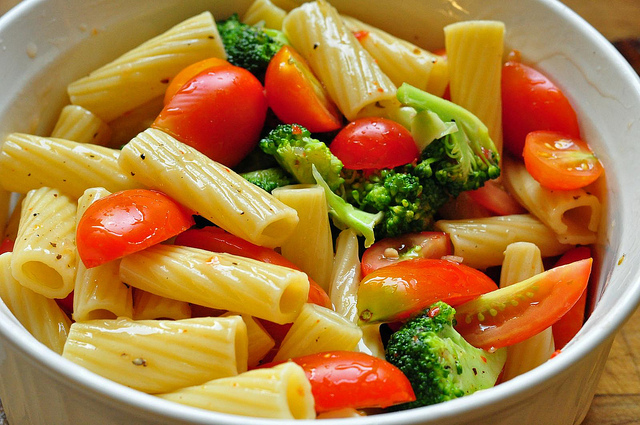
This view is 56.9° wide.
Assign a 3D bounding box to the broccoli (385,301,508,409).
[{"bbox_3d":[0.281,0.347,1.352,0.232,0.123,0.239,-24,78,-8],"label":"broccoli"}]

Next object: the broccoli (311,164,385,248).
[{"bbox_3d":[0.068,0.000,1.567,0.150,0.075,0.224,-43,88,-17],"label":"broccoli"}]

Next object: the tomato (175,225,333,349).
[{"bbox_3d":[-0.164,0.201,1.441,0.355,0.098,0.243,21,55,10],"label":"tomato"}]

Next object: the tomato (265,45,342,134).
[{"bbox_3d":[-0.068,-0.331,1.619,0.137,0.227,0.223,-34,39,-1],"label":"tomato"}]

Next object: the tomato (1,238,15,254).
[{"bbox_3d":[-0.818,0.085,1.541,0.027,0.028,0.027,1,53,-1],"label":"tomato"}]

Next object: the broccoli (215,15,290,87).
[{"bbox_3d":[-0.208,-0.516,1.740,0.191,0.075,0.236,11,38,-23],"label":"broccoli"}]

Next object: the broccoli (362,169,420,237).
[{"bbox_3d":[0.198,-0.032,1.493,0.142,0.079,0.163,-41,78,13],"label":"broccoli"}]

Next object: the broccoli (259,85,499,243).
[{"bbox_3d":[0.190,-0.087,1.614,0.467,0.224,0.466,23,48,9],"label":"broccoli"}]

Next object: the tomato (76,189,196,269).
[{"bbox_3d":[-0.439,0.017,1.375,0.260,0.083,0.299,13,26,20],"label":"tomato"}]

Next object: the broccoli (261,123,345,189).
[{"bbox_3d":[-0.036,-0.158,1.552,0.219,0.127,0.079,42,15,1],"label":"broccoli"}]

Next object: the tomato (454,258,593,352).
[{"bbox_3d":[0.463,0.245,1.425,0.141,0.419,0.125,54,40,-6],"label":"tomato"}]

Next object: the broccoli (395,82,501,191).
[{"bbox_3d":[0.384,-0.228,1.671,0.241,0.140,0.377,-2,26,18],"label":"broccoli"}]

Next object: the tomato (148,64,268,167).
[{"bbox_3d":[-0.304,-0.268,1.646,0.349,0.270,0.277,-10,87,-3],"label":"tomato"}]

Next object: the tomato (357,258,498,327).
[{"bbox_3d":[0.245,0.155,1.376,0.256,0.158,0.097,-8,85,-21],"label":"tomato"}]
